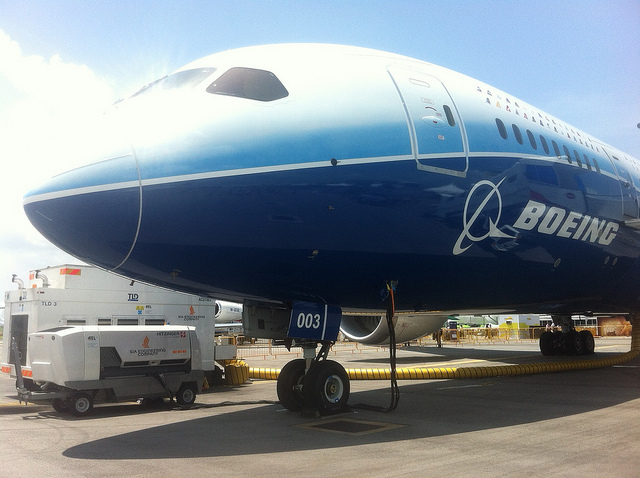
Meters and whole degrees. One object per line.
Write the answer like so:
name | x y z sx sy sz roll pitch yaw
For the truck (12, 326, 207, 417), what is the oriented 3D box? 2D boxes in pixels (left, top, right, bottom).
truck | -4.276 3.123 12.164 3.832 1.785 2.307 -3 -18 1

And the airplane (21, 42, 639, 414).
airplane | 0.772 -0.176 9.198 10.752 6.528 2.986 6 -11 -29
